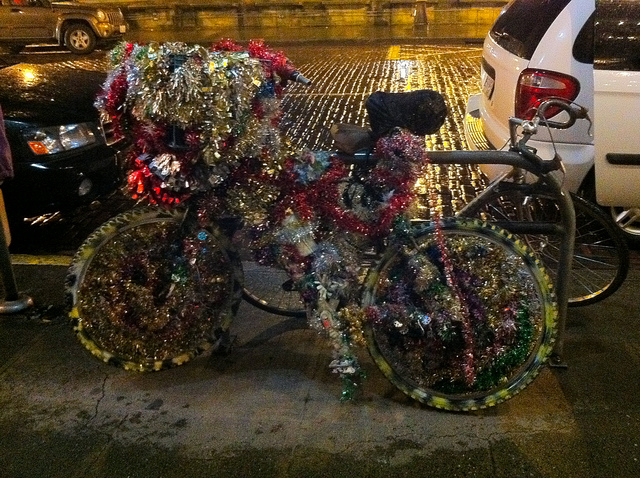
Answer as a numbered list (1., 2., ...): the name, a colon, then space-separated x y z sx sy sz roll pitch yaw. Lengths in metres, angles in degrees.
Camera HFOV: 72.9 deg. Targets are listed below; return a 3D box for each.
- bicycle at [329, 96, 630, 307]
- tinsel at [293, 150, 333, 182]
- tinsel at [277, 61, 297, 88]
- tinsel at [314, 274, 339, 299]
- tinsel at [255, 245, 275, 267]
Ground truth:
1. bicycle: 1.151 -0.219 2.845 2.125 1.319 1.155 5 27 7
2. tinsel: -0.031 -0.406 2.413 0.207 0.164 0.060 -19 -1 4
3. tinsel: -0.194 -0.952 2.506 0.096 0.145 0.179 -5 35 -2
4. tinsel: 0.041 0.281 2.495 0.152 0.062 0.105 41 80 5
5. tinsel: -0.329 0.102 2.659 0.126 0.117 0.073 1 19 11
